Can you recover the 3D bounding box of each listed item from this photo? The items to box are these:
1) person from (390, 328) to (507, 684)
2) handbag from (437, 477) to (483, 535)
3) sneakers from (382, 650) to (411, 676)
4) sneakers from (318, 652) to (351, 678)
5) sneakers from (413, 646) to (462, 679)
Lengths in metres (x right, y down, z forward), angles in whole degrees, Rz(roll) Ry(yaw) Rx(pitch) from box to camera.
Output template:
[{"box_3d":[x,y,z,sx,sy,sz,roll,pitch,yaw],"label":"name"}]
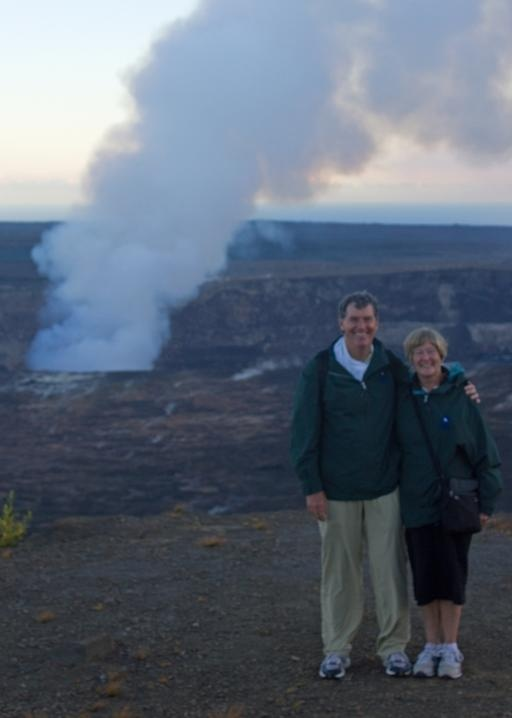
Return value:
[{"box_3d":[0.876,0.651,3.964,0.444,1.542,0.508,-2,9,9],"label":"person"},{"box_3d":[0.910,0.647,3.901,0.170,0.236,0.115,0,-7,-9],"label":"handbag"},{"box_3d":[0.636,1.361,3.943,0.066,0.068,0.148,0,7,7],"label":"sneakers"},{"box_3d":[0.348,1.392,3.997,0.069,0.074,0.175,1,5,14],"label":"sneakers"},{"box_3d":[0.821,1.345,3.911,0.119,0.084,0.209,-3,-11,19],"label":"sneakers"}]
